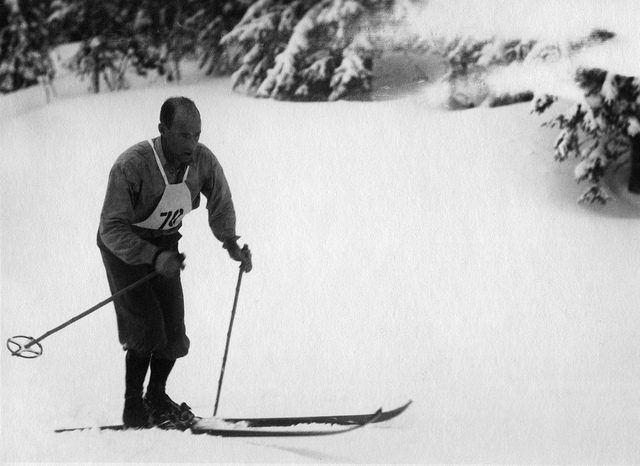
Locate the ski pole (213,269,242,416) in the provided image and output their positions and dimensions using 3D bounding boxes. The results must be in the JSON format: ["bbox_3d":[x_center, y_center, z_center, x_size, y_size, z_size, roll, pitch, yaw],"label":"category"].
[{"bbox_3d":[-0.467,0.517,5.191,0.016,0.731,0.027,11,-6,9],"label":"ski pole"}]

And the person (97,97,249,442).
[{"bbox_3d":[-0.755,0.196,5.128,0.697,1.741,0.273,0,7,-14],"label":"person"}]
